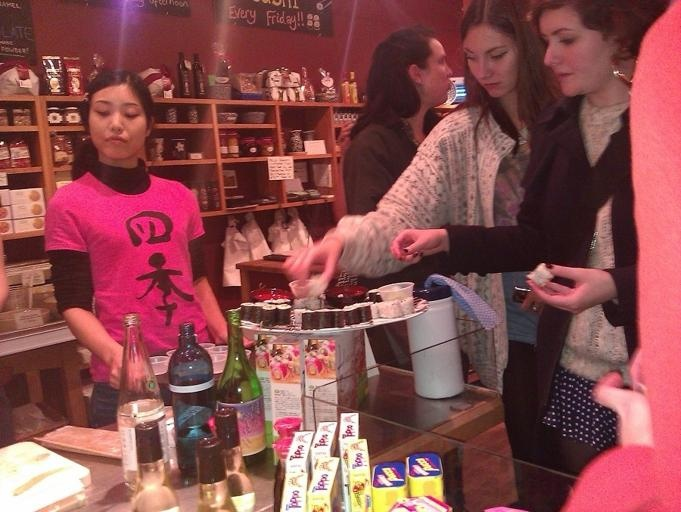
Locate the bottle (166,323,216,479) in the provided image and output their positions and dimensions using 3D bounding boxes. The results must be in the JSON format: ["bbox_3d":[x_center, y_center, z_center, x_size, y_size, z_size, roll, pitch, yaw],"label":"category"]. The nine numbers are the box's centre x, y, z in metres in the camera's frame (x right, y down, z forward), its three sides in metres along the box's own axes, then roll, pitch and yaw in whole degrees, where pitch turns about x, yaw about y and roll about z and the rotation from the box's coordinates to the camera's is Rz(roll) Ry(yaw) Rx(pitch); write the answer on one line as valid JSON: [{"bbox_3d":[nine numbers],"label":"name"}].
[{"bbox_3d":[-0.303,0.358,1.124,0.125,0.387,0.120,4,16,-1],"label":"bottle"}]

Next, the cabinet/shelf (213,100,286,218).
[{"bbox_3d":[-0.863,-0.876,4.428,0.328,0.946,0.737,5,15,36],"label":"cabinet/shelf"}]

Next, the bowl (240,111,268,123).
[{"bbox_3d":[-0.777,-1.239,4.497,0.239,0.118,0.143,-4,12,-7],"label":"bowl"}]

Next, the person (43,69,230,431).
[{"bbox_3d":[-0.826,-0.079,2.156,0.706,1.667,0.688,-10,8,-39],"label":"person"}]

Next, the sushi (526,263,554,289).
[{"bbox_3d":[0.481,0.041,1.221,0.060,0.060,0.018,-45,10,25],"label":"sushi"}]

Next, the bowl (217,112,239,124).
[{"bbox_3d":[-0.973,-1.174,4.324,0.133,0.059,0.117,-6,13,-27],"label":"bowl"}]

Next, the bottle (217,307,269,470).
[{"bbox_3d":[-0.220,0.301,1.143,0.089,0.336,0.117,-2,14,-16],"label":"bottle"}]

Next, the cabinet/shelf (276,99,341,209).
[{"bbox_3d":[-0.383,-1.009,5.023,0.697,0.910,0.341,-18,27,-40],"label":"cabinet/shelf"}]

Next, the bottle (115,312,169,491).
[{"bbox_3d":[-0.402,0.277,1.108,0.136,0.434,0.139,-4,-2,0],"label":"bottle"}]
